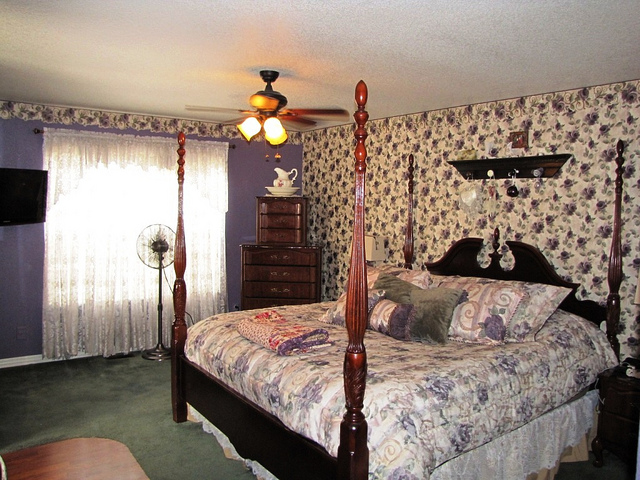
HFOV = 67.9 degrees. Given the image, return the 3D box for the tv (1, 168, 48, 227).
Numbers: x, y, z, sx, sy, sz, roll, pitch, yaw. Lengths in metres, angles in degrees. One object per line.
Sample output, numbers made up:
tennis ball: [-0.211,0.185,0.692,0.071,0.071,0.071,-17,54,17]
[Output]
tv: [-3.251,-0.479,5.167,0.060,0.544,0.605,9,9,24]

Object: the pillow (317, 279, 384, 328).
pillow: [0.238,0.658,4.361,0.580,0.174,0.531,-46,19,-20]

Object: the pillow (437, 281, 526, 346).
pillow: [1.439,0.595,4.056,0.156,0.525,0.550,39,-18,-36]

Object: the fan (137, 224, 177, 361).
fan: [-2.086,0.645,6.028,0.463,1.681,0.529,-1,9,-11]

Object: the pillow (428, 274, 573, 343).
pillow: [1.761,0.545,4.490,0.758,0.273,1.104,-32,12,-33]

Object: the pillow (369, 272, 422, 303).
pillow: [0.716,0.439,4.479,0.230,0.114,0.371,-13,17,-32]

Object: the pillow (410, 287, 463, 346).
pillow: [0.987,0.635,4.074,0.456,0.446,0.141,-5,-30,44]
